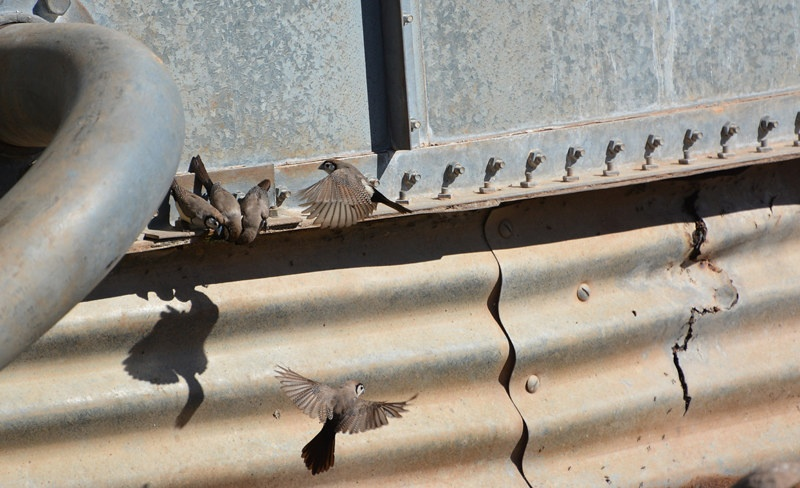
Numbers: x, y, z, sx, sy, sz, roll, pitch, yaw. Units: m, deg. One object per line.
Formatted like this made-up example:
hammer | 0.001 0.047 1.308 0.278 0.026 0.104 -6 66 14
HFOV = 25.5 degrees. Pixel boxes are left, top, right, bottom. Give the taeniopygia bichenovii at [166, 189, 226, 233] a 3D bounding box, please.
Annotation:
taeniopygia bichenovii | -1.353 -0.217 11.731 0.411 0.301 0.153 9 18 40

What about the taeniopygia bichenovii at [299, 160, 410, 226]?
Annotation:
taeniopygia bichenovii | -0.367 -0.279 11.932 0.515 0.230 0.536 -2 23 20
